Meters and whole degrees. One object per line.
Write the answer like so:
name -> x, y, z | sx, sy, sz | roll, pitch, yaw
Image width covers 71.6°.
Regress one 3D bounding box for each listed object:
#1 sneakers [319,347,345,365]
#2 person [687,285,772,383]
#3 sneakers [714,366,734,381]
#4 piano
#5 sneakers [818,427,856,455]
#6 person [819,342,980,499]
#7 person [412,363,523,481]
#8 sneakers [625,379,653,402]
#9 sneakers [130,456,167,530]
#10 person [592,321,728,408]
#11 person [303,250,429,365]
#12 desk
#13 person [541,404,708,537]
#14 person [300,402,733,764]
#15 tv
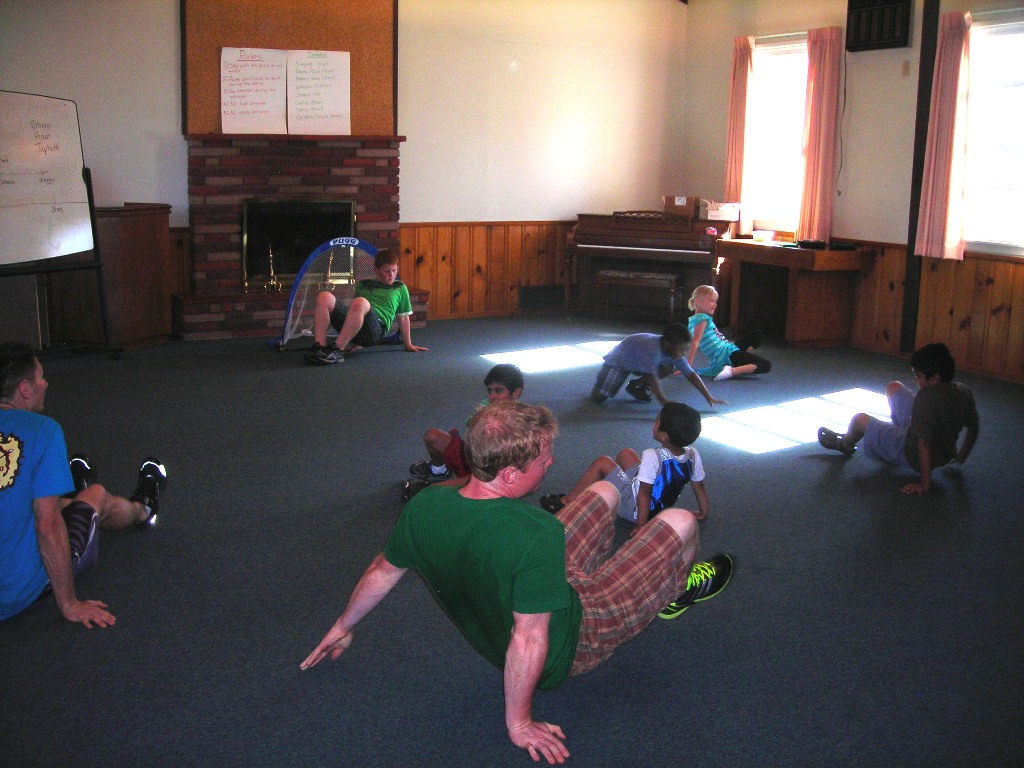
sneakers -> -1.508, -0.237, 6.053 | 0.103, 0.138, 0.255 | 9, 14, 39
person -> 1.728, -0.462, 5.844 | 0.676, 0.758, 0.788 | -8, 16, 1
sneakers -> 1.740, -0.083, 5.815 | 0.121, 0.054, 0.119 | -5, -20, -40
piano -> 1.683, -1.408, 8.336 | 2.090, 1.666, 1.162 | 7, 13, 27
sneakers -> 1.939, 0.343, 4.245 | 0.203, 0.117, 0.083 | 19, -7, 34
person -> 2.088, 0.099, 4.048 | 0.575, 0.791, 0.907 | -23, 23, -12
person -> -0.162, 0.345, 3.379 | 0.365, 0.952, 0.551 | 0, -14, 5
sneakers -> 0.927, 0.031, 5.231 | 0.194, 0.193, 0.116 | -10, 21, -21
sneakers -> -1.720, 0.477, 3.331 | 0.128, 0.163, 0.392 | 3, 50, -8
person -> 0.981, -0.146, 5.008 | 0.677, 0.625, 0.834 | -3, 11, -16
person -> -1.370, -0.709, 6.418 | 0.765, 1.108, 1.087 | 12, 6, 36
desk -> 2.823, -0.981, 7.374 | 0.719, 0.947, 1.341 | -10, 17, -26
person -> 0.525, 0.341, 3.281 | 0.392, 0.608, 0.748 | -4, 8, -37
person -> 0.005, 0.454, 2.020 | 0.824, 0.697, 1.230 | 24, 35, 33
tv -> -2.208, -1.406, 7.112 | 0.949, 0.733, 0.162 | -3, 9, -23
